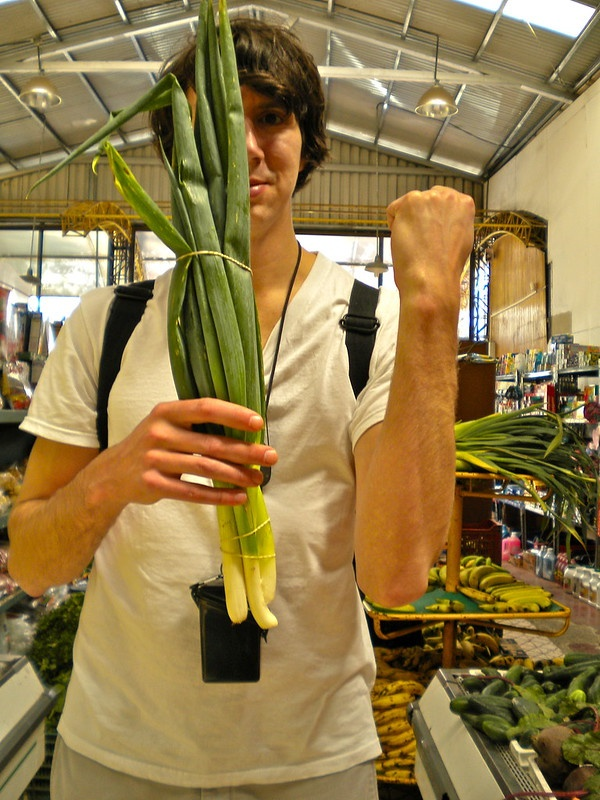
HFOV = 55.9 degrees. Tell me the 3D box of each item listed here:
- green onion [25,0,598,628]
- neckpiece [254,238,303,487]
[{"bbox_3d":[-0.097,-0.148,0.742,0.590,0.657,0.418,2,1,4],"label":"green onion"},{"bbox_3d":[-0.032,-0.075,0.833,0.029,0.281,0.083,13,-13,-5],"label":"neckpiece"}]
